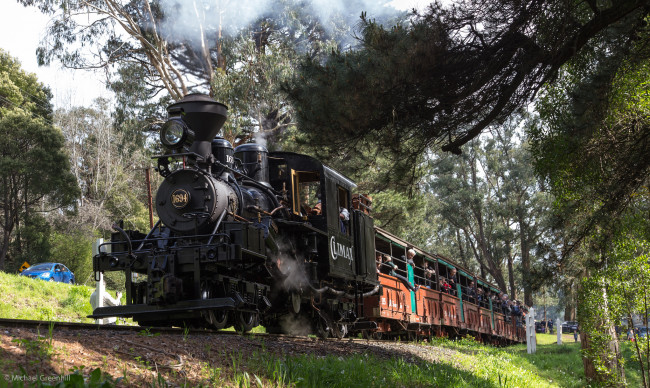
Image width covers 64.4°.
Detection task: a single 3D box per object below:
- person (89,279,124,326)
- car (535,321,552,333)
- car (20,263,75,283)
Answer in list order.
[{"bbox_3d":[-6.531,3.345,15.345,0.811,1.490,0.779,-8,-3,-7],"label":"person"},{"bbox_3d":[21.200,12.701,49.932,1.442,1.572,4.576,-6,-21,20],"label":"car"},{"bbox_3d":[-13.456,3.784,25.427,1.242,0.891,2.265,-4,-21,14],"label":"car"}]
